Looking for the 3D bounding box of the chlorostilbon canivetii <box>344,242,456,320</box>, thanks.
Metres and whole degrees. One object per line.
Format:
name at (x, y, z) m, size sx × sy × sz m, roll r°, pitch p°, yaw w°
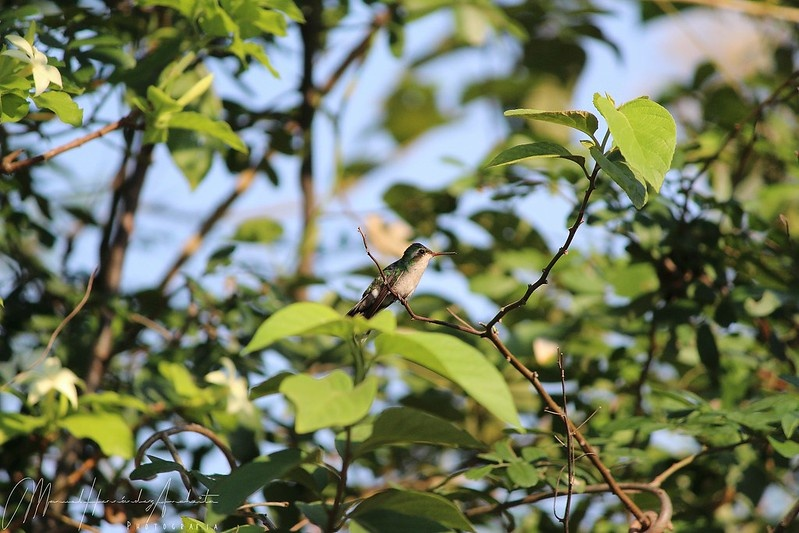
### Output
chlorostilbon canivetii at (-0.025, 0.046, 5.481) m, size 0.606 × 0.335 × 0.198 m, roll -4°, pitch -3°, yaw 25°
